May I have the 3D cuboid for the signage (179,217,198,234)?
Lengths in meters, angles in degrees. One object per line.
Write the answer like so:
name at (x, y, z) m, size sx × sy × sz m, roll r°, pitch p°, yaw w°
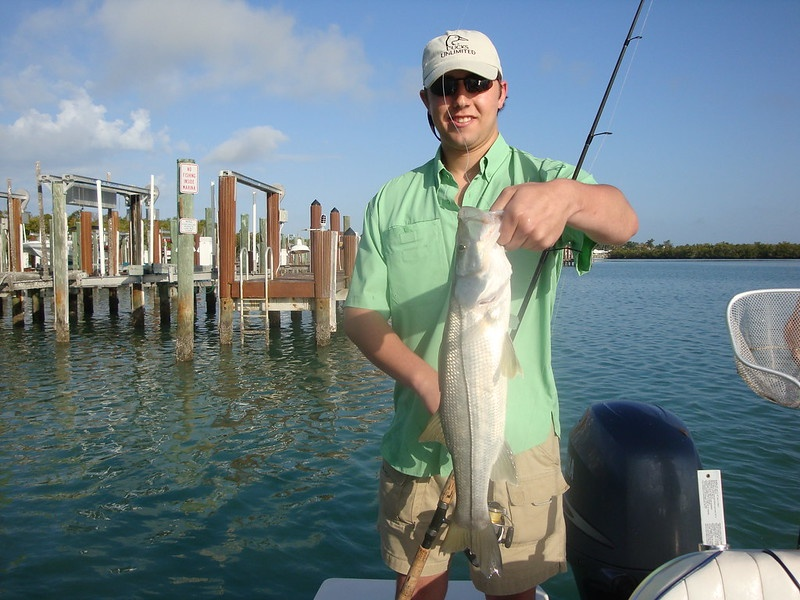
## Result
signage at (-4.604, -1.604, 15.089) m, size 0.353 × 0.393 × 0.720 m, roll -4°, pitch 11°, yaw -18°

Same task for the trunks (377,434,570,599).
trunks at (0.454, 1.482, 5.022) m, size 1.590 × 1.434 × 0.967 m, roll -1°, pitch -9°, yaw 3°

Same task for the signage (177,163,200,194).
signage at (-4.649, -2.675, 15.170) m, size 0.416 × 0.692 × 0.268 m, roll -2°, pitch 10°, yaw -9°

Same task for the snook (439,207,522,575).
snook at (0.486, 0.578, 4.349) m, size 0.476 × 2.308 × 0.222 m, roll 5°, pitch 11°, yaw 28°

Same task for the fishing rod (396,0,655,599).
fishing rod at (0.805, 0.506, 4.847) m, size 0.103 × 5.195 × 0.141 m, roll 18°, pitch 3°, yaw 41°
